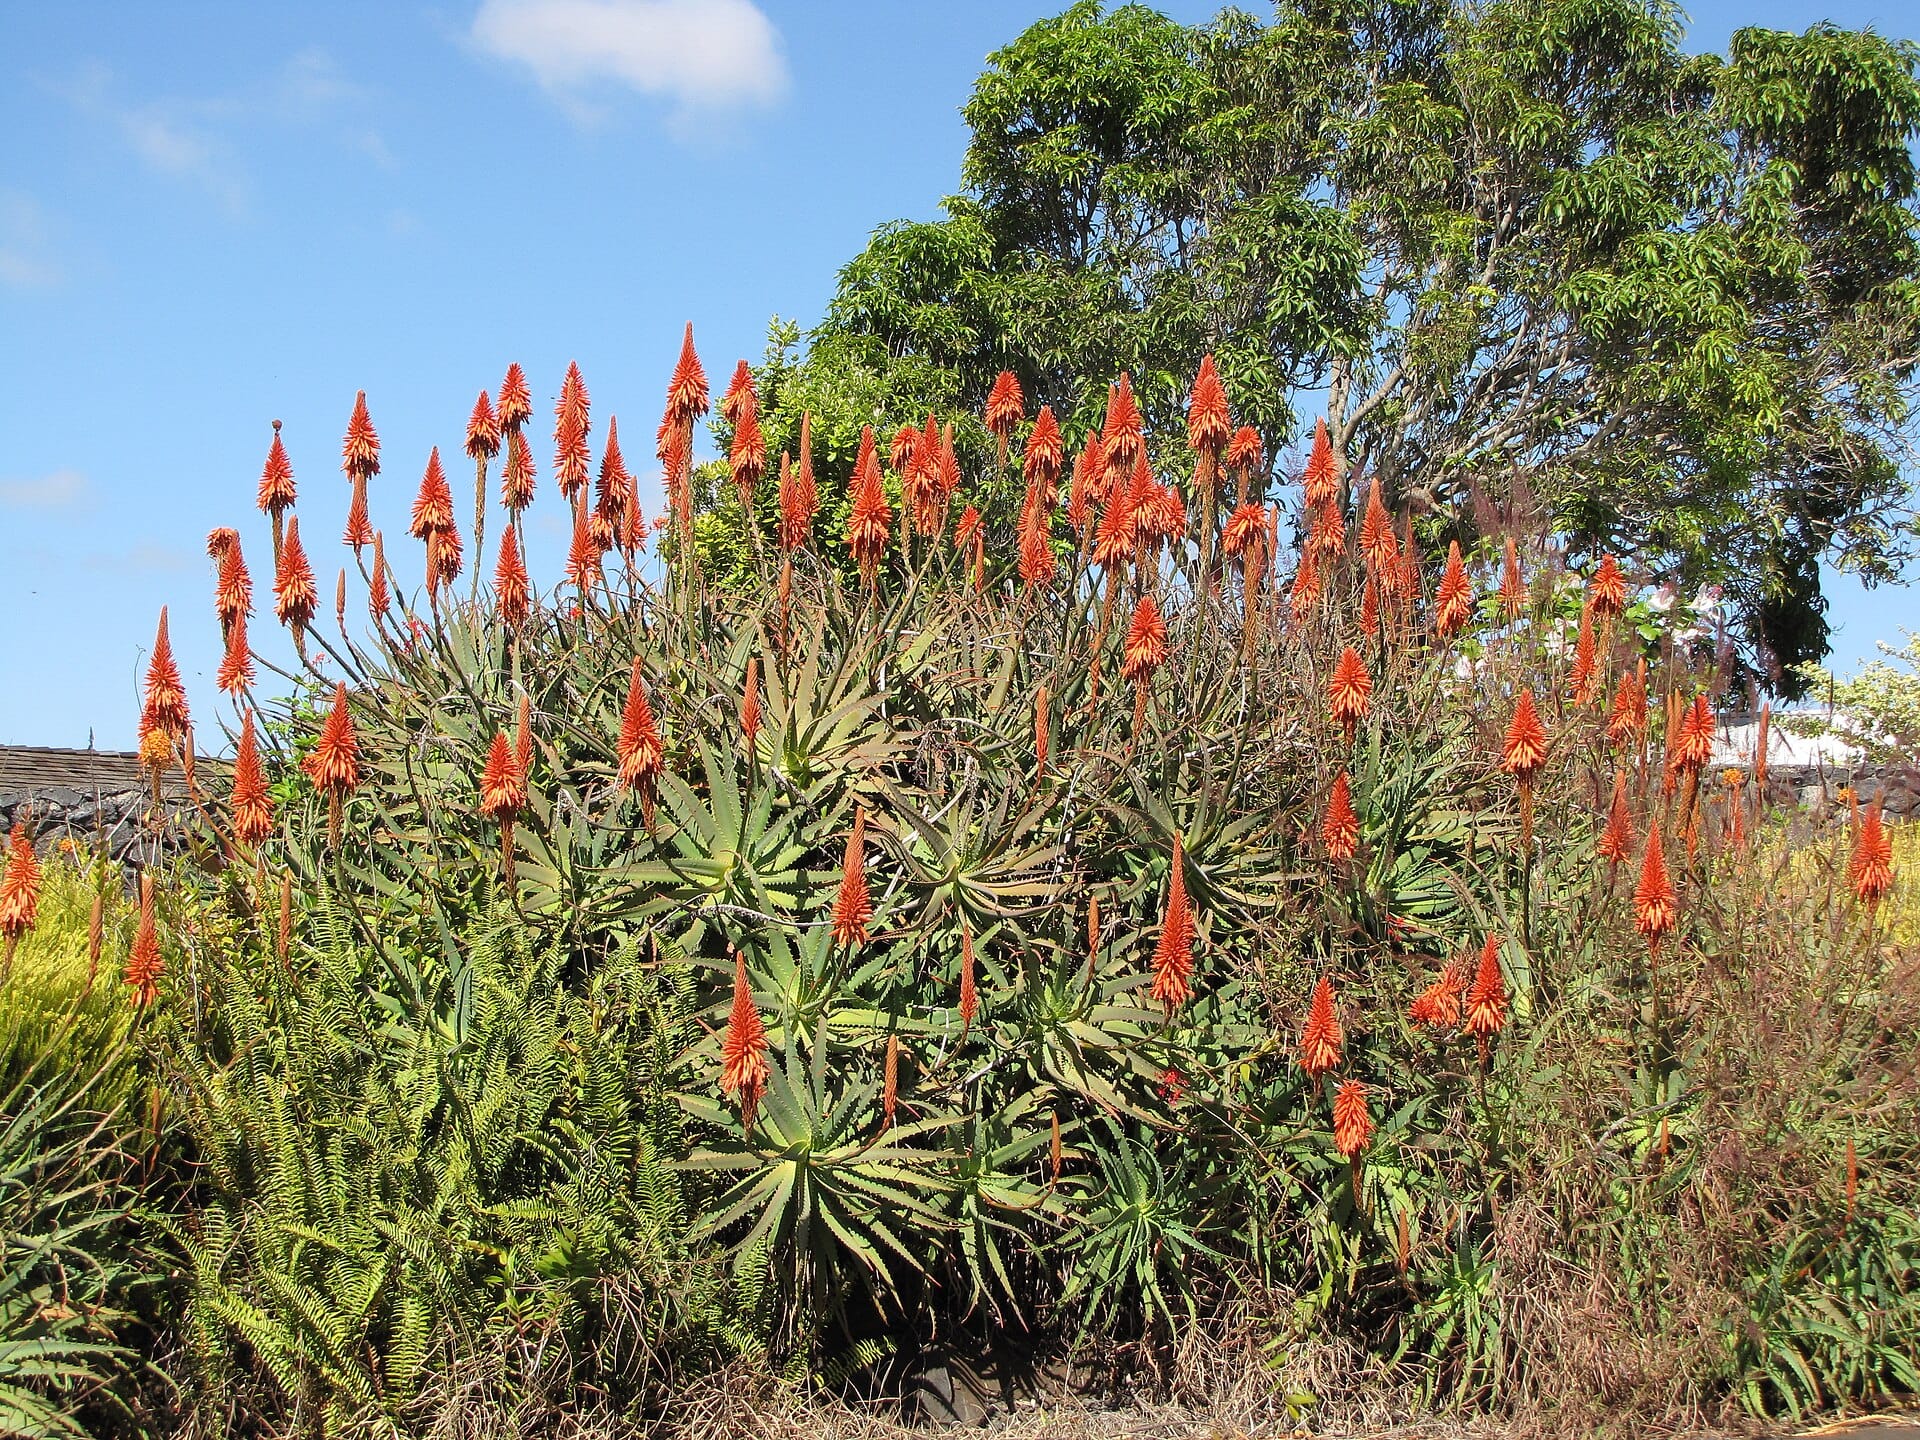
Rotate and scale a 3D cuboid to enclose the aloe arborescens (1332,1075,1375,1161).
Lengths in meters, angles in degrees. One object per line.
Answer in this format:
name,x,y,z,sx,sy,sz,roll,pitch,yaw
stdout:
aloe arborescens,1.517,1.534,6.581,0.150,0.380,0.492,1,0,12
